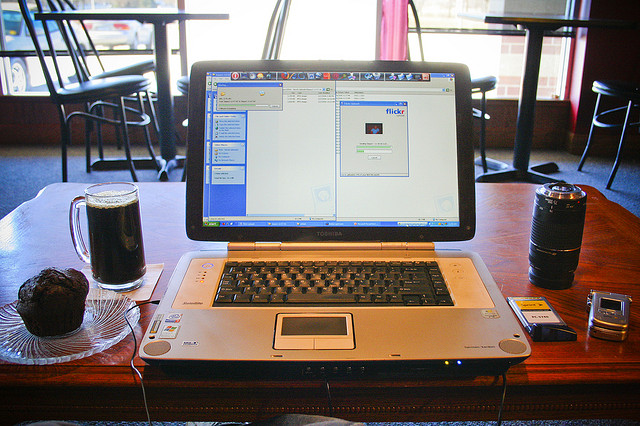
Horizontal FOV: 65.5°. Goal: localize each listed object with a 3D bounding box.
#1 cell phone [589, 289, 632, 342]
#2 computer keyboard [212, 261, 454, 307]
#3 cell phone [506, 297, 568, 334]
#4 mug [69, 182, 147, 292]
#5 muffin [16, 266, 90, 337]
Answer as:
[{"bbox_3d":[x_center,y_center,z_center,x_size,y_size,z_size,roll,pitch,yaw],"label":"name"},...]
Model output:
[{"bbox_3d":[0.499,0.177,0.854,0.065,0.062,0.067,10,23,25],"label":"cell phone"},{"bbox_3d":[0.023,0.129,0.913,0.462,0.026,0.147,1,37,-1],"label":"computer keyboard"},{"bbox_3d":[0.378,0.178,0.871,0.081,0.023,0.096,2,27,-2],"label":"cell phone"},{"bbox_3d":[-0.437,0.026,1.010,0.128,0.181,0.280,-10,22,-25],"label":"mug"},{"bbox_3d":[-0.444,0.149,0.823,0.102,0.100,0.056,-4,22,-10],"label":"muffin"}]
